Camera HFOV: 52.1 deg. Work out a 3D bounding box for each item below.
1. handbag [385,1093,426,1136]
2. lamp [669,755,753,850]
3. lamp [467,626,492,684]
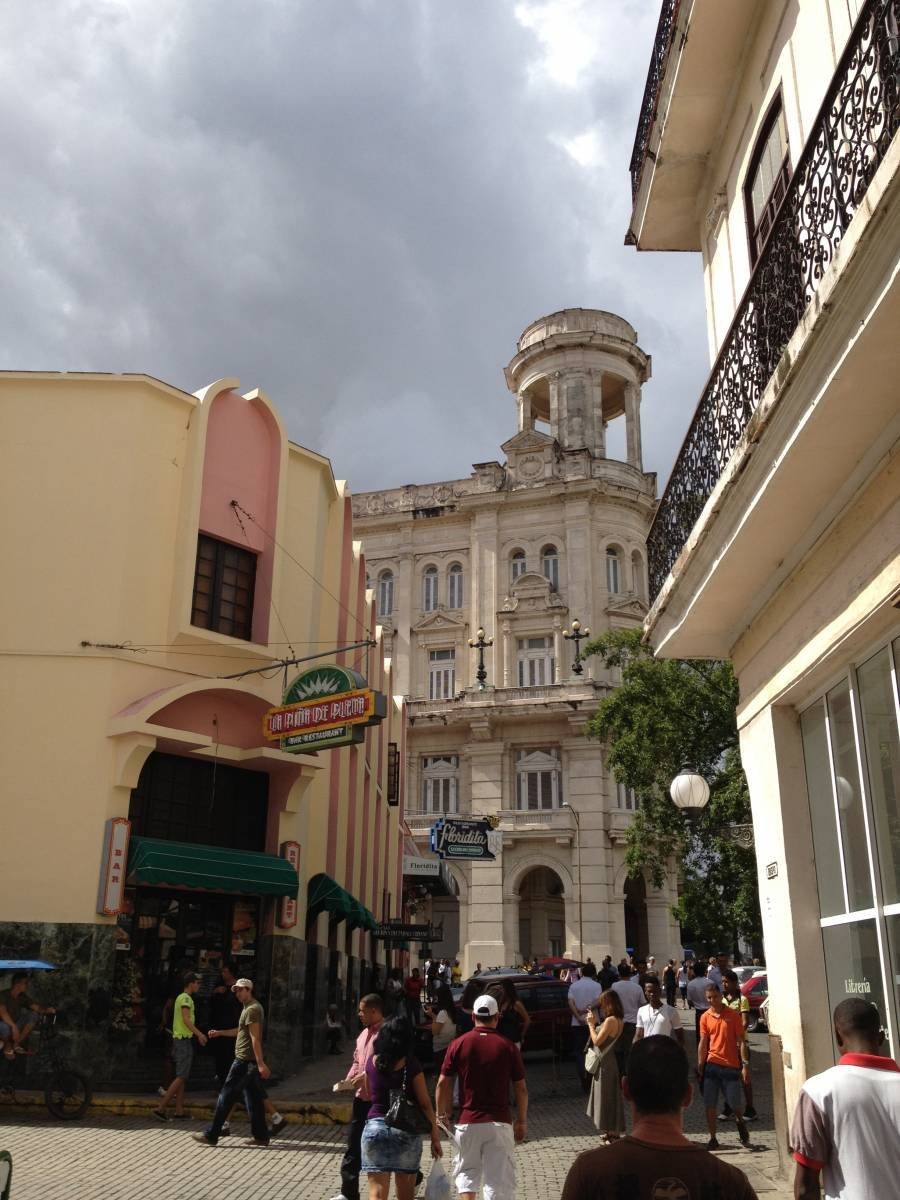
[{"bbox_3d":[-0.289,3.211,5.717,0.101,0.211,0.223,-27,-38,27],"label":"handbag"},{"bbox_3d":[3.143,2.388,11.637,0.402,0.519,1.440,10,-24,-33],"label":"lamp"},{"bbox_3d":[1.576,2.968,46.042,1.000,3.148,2.146,-2,-20,2],"label":"lamp"}]
